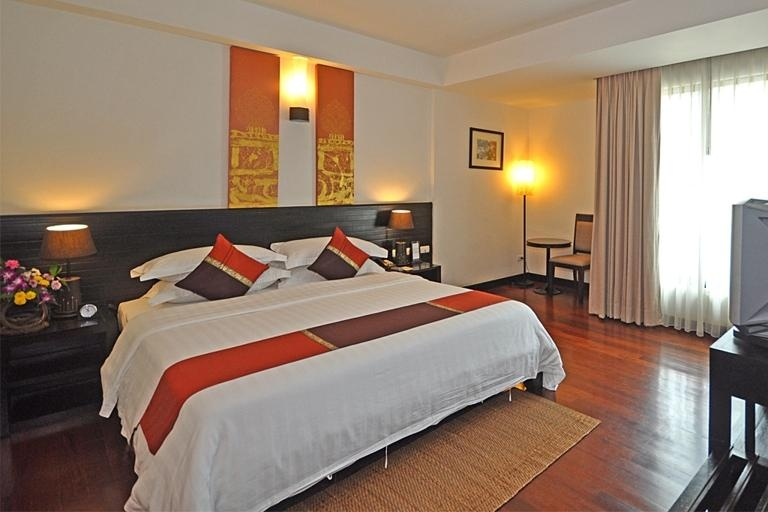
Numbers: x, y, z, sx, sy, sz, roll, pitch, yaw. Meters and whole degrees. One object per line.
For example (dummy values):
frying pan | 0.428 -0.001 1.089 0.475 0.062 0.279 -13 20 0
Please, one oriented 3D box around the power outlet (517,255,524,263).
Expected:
power outlet | 2.223 0.037 7.734 0.157 0.101 0.084 0 2 -44

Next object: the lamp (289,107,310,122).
lamp | -0.919 -1.566 5.225 0.174 0.107 0.167 -3 6 -43

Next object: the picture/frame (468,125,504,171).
picture/frame | 1.485 -1.614 6.982 0.788 0.588 0.035 -2 2 -39

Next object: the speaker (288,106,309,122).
speaker | -0.943 -1.586 5.269 0.211 0.146 0.130 -3 11 -11
